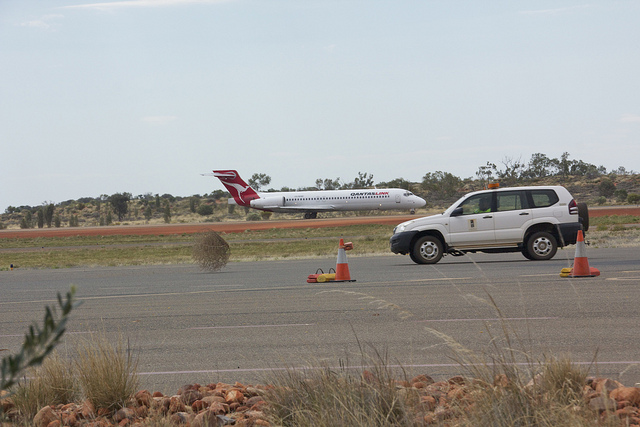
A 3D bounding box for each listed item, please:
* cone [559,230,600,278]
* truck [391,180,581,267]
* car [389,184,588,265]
[{"bbox_3d":[6.899,1.124,24.556,0.695,1.451,0.723,0,0,0],"label":"cone"},{"bbox_3d":[5.336,0.263,29.076,5.408,2.295,2.463,0,-3,6],"label":"truck"},{"bbox_3d":[5.503,0.237,29.284,5.997,2.536,2.315,-3,2,19],"label":"car"}]
